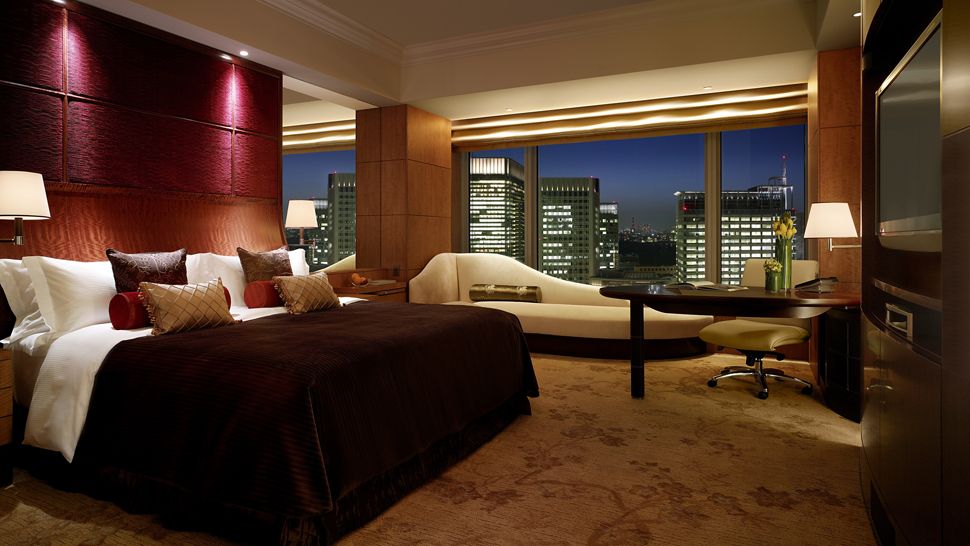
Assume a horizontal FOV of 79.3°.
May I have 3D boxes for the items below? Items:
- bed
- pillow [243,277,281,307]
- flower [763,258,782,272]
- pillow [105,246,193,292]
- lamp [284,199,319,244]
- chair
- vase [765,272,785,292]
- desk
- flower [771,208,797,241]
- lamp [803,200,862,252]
[{"bbox_3d":[-1.723,0.919,4.175,2.446,1.055,2.387,-2,0,25],"label":"bed"},{"bbox_3d":[-1.961,0.178,5.275,0.257,0.248,0.317,-24,-4,15],"label":"pillow"},{"bbox_3d":[2.567,-0.065,5.229,0.113,0.096,0.181,-8,14,-26],"label":"flower"},{"bbox_3d":[-2.724,-0.020,4.693,0.141,0.283,0.401,-12,-5,37],"label":"pillow"},{"bbox_3d":[-2.509,-0.651,8.040,0.356,0.754,1.600,-6,13,-14],"label":"lamp"},{"bbox_3d":[2.804,0.503,6.040,1.380,1.520,1.322,3,-2,-44],"label":"chair"},{"bbox_3d":[2.579,0.083,5.174,0.173,0.173,0.162,-4,4,-22],"label":"vase"},{"bbox_3d":[2.739,0.512,5.835,1.052,1.143,0.896,-7,6,-35],"label":"desk"},{"bbox_3d":[2.748,-0.420,5.324,0.160,0.211,0.279,6,15,33],"label":"flower"},{"bbox_3d":[3.334,-0.454,5.602,0.580,0.475,0.527,-6,5,-19],"label":"lamp"}]
